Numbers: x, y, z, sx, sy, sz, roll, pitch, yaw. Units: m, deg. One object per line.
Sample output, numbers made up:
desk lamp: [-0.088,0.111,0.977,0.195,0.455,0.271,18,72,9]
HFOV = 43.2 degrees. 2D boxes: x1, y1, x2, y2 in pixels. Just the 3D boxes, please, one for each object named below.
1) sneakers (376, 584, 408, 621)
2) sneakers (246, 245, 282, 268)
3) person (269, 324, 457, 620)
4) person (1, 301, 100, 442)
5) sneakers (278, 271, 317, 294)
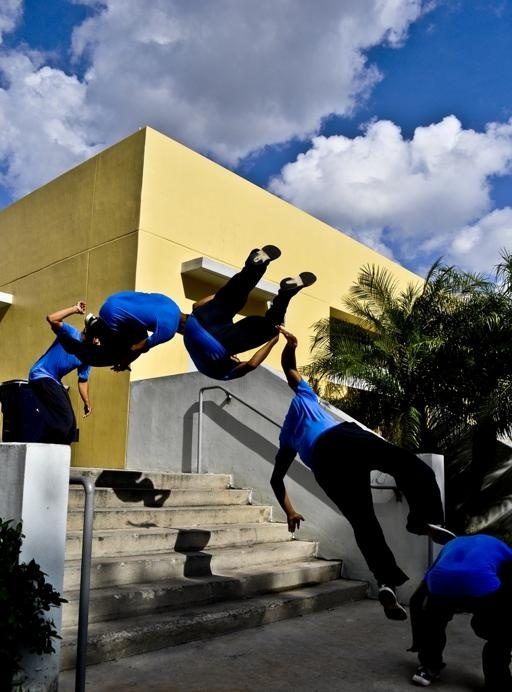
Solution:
sneakers: [0.809,1.559,3.848,0.139,0.229,0.314,1,-9,9]
sneakers: [0.060,-0.556,4.038,0.204,0.106,0.039,-13,-12,-4]
person: [0.689,0.843,4.536,1.039,1.821,1.167,-1,-10,21]
person: [-2.433,0.324,7.750,0.874,0.698,2.365,5,35,-1]
sneakers: [0.271,-0.386,4.091,0.231,0.128,0.044,-15,-44,-9]
